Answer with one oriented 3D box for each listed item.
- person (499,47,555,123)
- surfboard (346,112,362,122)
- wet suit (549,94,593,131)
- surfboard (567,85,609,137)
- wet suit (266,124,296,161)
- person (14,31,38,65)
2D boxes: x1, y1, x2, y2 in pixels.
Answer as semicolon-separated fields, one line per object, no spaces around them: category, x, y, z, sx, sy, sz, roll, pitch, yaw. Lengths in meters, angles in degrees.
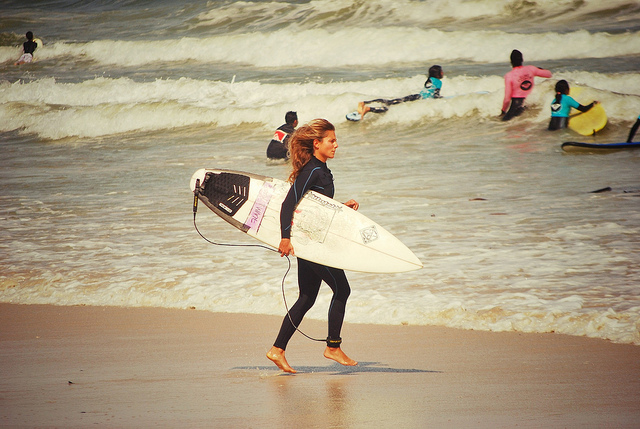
person;5.449;-3.443;26.291;1.103;2.075;1.108;0;28;8
surfboard;0.989;-2.819;28.280;0.361;0.079;0.266;-13;34;-9
wet suit;6.661;-2.650;25.725;1.216;1.072;0.374;24;51;8
surfboard;7.267;-2.788;26.209;1.083;0.955;2.312;3;21;13
wet suit;-0.935;-1.846;25.205;0.561;0.956;0.746;-26;34;-36
person;-11.522;-6.447;37.875;0.841;1.243;1.302;-8;25;-8
